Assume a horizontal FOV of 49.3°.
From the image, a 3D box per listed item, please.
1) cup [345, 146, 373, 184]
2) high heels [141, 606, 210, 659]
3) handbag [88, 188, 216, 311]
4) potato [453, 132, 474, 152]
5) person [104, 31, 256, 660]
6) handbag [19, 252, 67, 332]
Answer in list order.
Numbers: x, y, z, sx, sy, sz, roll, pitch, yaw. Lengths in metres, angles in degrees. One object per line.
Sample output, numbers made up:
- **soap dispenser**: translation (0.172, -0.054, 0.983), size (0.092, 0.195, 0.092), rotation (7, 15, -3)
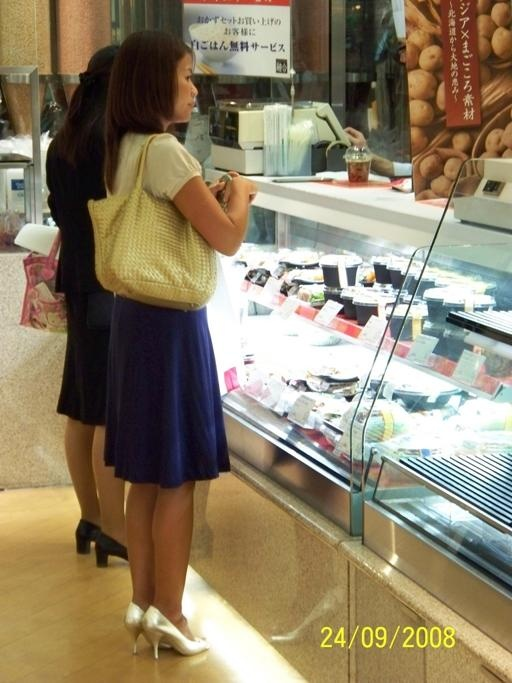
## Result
- **cup**: translation (0.351, -0.605, 1.948), size (0.121, 0.152, 0.122), rotation (-1, 10, 0)
- **high heels**: translation (-0.239, 0.925, 1.791), size (0.226, 0.152, 0.090), rotation (9, -15, -31)
- **handbag**: translation (-0.285, -0.336, 1.546), size (0.214, 0.438, 0.304), rotation (12, 12, 43)
- **potato**: translation (0.517, -0.503, 1.403), size (0.047, 0.045, 0.047), rotation (3, 4, -3)
- **person**: translation (-0.245, 0.101, 1.665), size (0.505, 1.841, 0.333), rotation (4, 8, 36)
- **handbag**: translation (-0.940, -0.211, 2.460), size (0.239, 0.314, 0.076), rotation (4, 0, 30)
